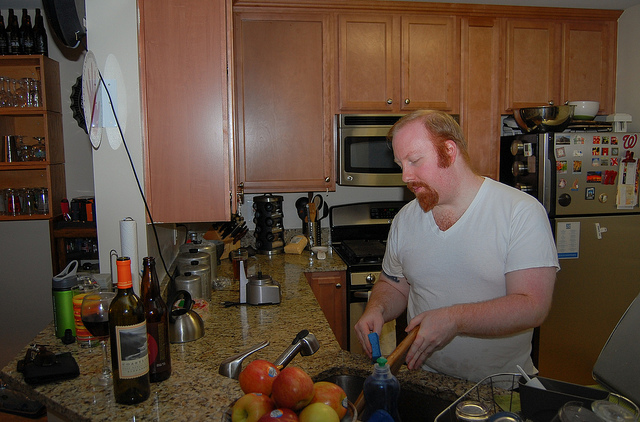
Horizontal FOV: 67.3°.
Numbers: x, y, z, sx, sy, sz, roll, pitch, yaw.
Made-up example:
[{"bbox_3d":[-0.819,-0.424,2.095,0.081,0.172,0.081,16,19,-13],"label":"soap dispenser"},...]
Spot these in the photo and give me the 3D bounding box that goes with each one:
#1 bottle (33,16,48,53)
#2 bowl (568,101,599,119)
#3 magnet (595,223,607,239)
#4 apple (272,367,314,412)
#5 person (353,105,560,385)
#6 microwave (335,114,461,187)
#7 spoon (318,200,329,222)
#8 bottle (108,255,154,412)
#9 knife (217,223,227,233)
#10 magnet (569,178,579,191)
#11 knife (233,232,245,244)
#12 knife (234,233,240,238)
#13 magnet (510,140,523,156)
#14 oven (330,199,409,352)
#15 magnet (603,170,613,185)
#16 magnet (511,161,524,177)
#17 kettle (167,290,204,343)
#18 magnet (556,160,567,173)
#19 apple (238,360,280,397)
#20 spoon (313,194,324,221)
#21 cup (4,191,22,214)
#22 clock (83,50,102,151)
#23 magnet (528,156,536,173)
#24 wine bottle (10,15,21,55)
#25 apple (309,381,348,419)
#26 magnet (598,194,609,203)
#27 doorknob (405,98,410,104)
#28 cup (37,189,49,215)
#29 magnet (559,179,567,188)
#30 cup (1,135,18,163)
[{"bbox_3d":[-2.443,-1.540,4.178,0.091,0.299,0.148,-6,16,-23],"label":"bottle"},{"bbox_3d":[2.116,-0.809,3.836,0.178,0.089,0.173,-1,2,0],"label":"bowl"},{"bbox_3d":[2.104,0.143,3.618,0.096,0.103,0.025,-9,1,-2],"label":"magnet"},{"bbox_3d":[-0.092,0.603,1.703,0.145,0.144,0.138,-12,-28,-23],"label":"apple"},{"bbox_3d":[0.621,0.113,2.190,0.854,1.093,0.589,8,16,26],"label":"person"},{"bbox_3d":[0.414,-0.465,3.727,0.814,0.514,0.517,-1,3,-4],"label":"microwave"},{"bbox_3d":[0.034,-0.011,4.105,0.047,0.226,0.048,10,14,7],"label":"spoon"},{"bbox_3d":[-0.757,0.452,1.889,0.158,0.599,0.210,-6,16,-25],"label":"bottle"},{"bbox_3d":[-0.748,0.127,3.649,0.083,0.016,0.016,-29,45,-30],"label":"knife"},{"bbox_3d":[1.905,-0.201,3.595,0.070,0.087,0.018,-4,15,-17],"label":"magnet"},{"bbox_3d":[-0.622,0.206,3.693,0.013,0.028,0.120,7,47,50],"label":"knife"},{"bbox_3d":[-0.639,0.182,3.683,0.008,0.008,0.057,29,69,36],"label":"knife"},{"bbox_3d":[1.506,-0.496,3.706,0.092,0.121,0.125,-1,10,-8],"label":"magnet"},{"bbox_3d":[0.486,0.593,3.978,0.849,1.204,0.786,4,21,8],"label":"oven"},{"bbox_3d":[2.170,-0.259,3.630,0.042,0.052,0.134,6,38,21],"label":"magnet"},{"bbox_3d":[1.528,-0.325,3.718,0.055,0.129,0.087,-13,19,-42],"label":"magnet"},{"bbox_3d":[-0.683,0.507,2.362,0.206,0.226,0.210,-1,8,24],"label":"kettle"},{"bbox_3d":[1.794,-0.337,3.584,0.096,0.087,0.031,0,0,1],"label":"magnet"},{"bbox_3d":[-0.221,0.621,1.774,0.143,0.130,0.129,-14,-11,-22],"label":"apple"},{"bbox_3d":[-0.015,-0.042,4.069,0.035,0.206,0.075,-2,1,13],"label":"spoon"},{"bbox_3d":[-2.677,-0.087,4.174,0.115,0.178,0.163,-9,18,-34],"label":"cup"},{"bbox_3d":[-1.188,-0.580,2.490,0.091,0.504,0.123,-6,16,-26],"label":"clock"},{"bbox_3d":[1.611,-0.360,3.651,0.015,0.126,0.078,-6,16,-26],"label":"magnet"},{"bbox_3d":[-2.612,-1.514,4.117,0.091,0.322,0.171,-6,16,-24],"label":"wine bottle"},{"bbox_3d":[0.038,0.636,1.673,0.133,0.107,0.112,7,-16,27],"label":"apple"},{"bbox_3d":[2.136,-0.099,3.630,0.077,0.060,0.019,-4,15,-16],"label":"magnet"},{"bbox_3d":[0.678,-0.857,3.732,0.029,0.033,0.028,-3,-9,27],"label":"doorknob"},{"bbox_3d":[-2.402,-0.085,4.163,0.088,0.186,0.197,-7,17,-29],"label":"cup"},{"bbox_3d":[1.811,-0.213,3.586,0.048,0.058,0.017,1,-1,-1],"label":"magnet"},{"bbox_3d":[-2.684,-0.544,4.149,0.116,0.220,0.206,-11,18,-38],"label":"cup"}]
